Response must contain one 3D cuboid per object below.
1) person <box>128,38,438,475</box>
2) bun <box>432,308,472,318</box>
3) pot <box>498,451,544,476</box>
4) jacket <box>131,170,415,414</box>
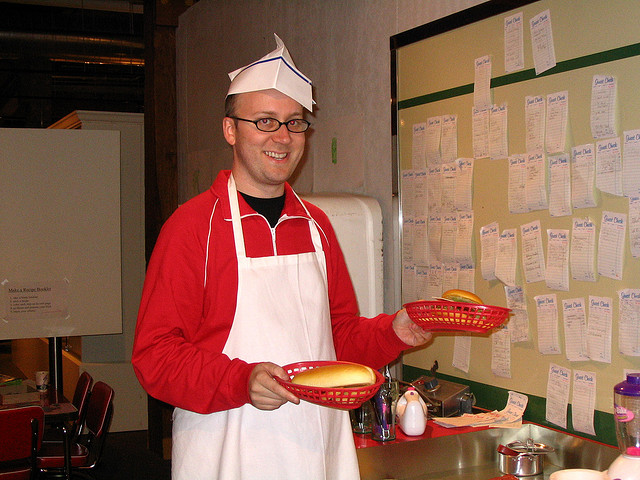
[{"bbox_3d":[-0.124,0.048,1.495,0.809,1.422,0.604,0,-4,-26],"label":"person"},{"bbox_3d":[0.358,0.203,1.395,0.096,0.026,0.025,-6,-6,40],"label":"bun"},{"bbox_3d":[0.734,0.821,1.836,0.093,0.049,0.128,1,-12,-2],"label":"pot"},{"bbox_3d":[-0.173,0.118,1.551,0.751,0.740,0.415,2,-5,-37],"label":"jacket"}]
